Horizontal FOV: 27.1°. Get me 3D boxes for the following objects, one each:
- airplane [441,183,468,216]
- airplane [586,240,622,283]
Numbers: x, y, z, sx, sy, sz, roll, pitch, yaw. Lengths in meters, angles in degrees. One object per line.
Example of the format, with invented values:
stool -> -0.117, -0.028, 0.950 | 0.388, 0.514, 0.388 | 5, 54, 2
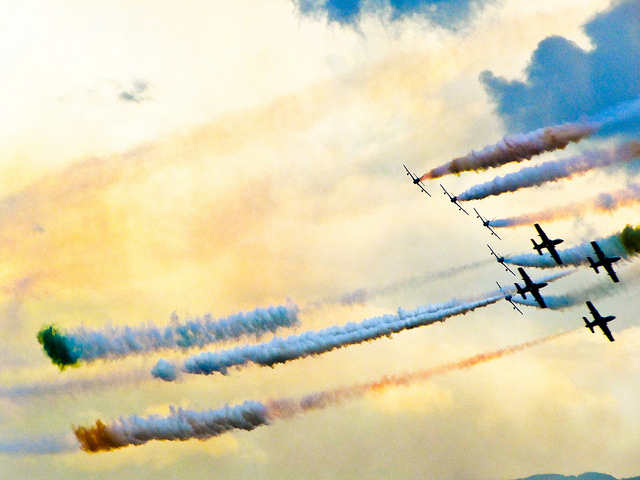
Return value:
airplane -> 33.411, 0.755, 195.483 | 4.734, 1.924, 6.751 | -6, -17, -12
airplane -> 41.380, 3.416, 194.323 | 4.026, 6.909, 0.704 | -16, 16, 23
